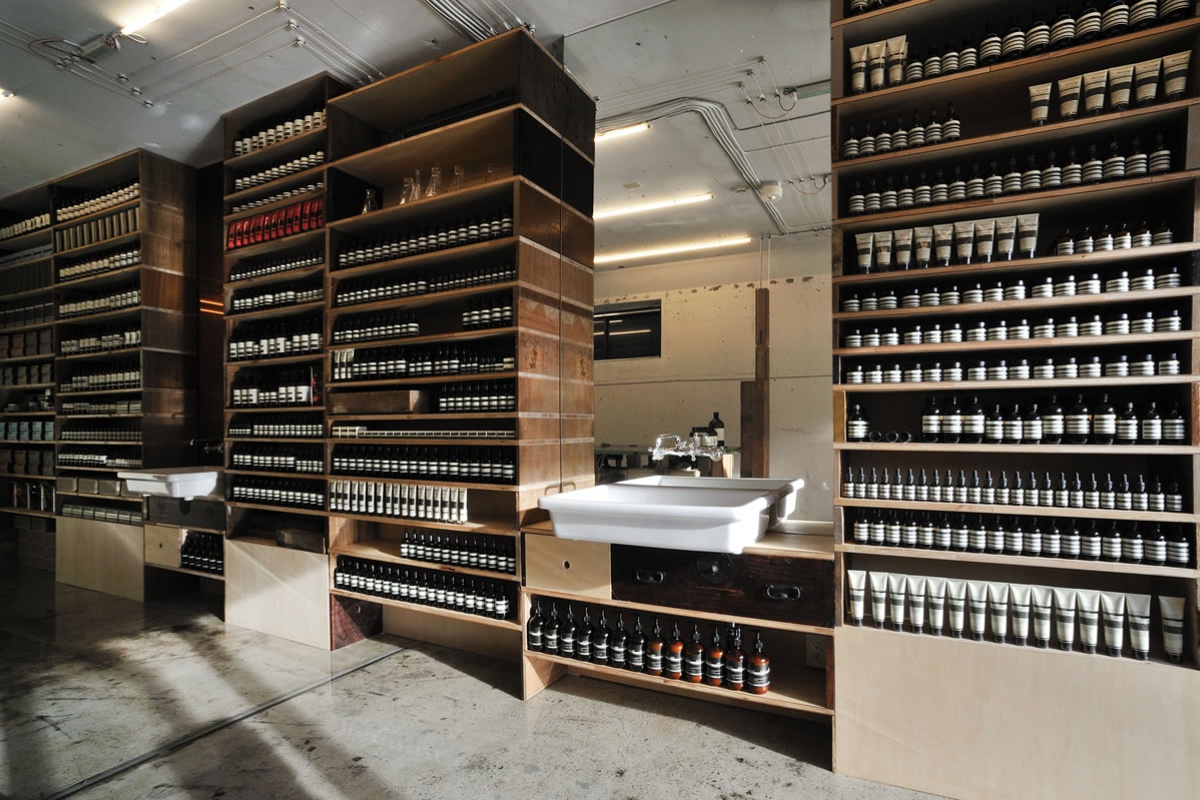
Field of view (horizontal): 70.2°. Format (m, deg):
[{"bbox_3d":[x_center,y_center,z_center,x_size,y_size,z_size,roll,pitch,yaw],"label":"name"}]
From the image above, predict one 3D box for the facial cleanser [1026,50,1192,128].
[{"bbox_3d":[2.855,-1.751,4.810,0.813,0.359,0.172,-1,-6,15],"label":"facial cleanser"}]
